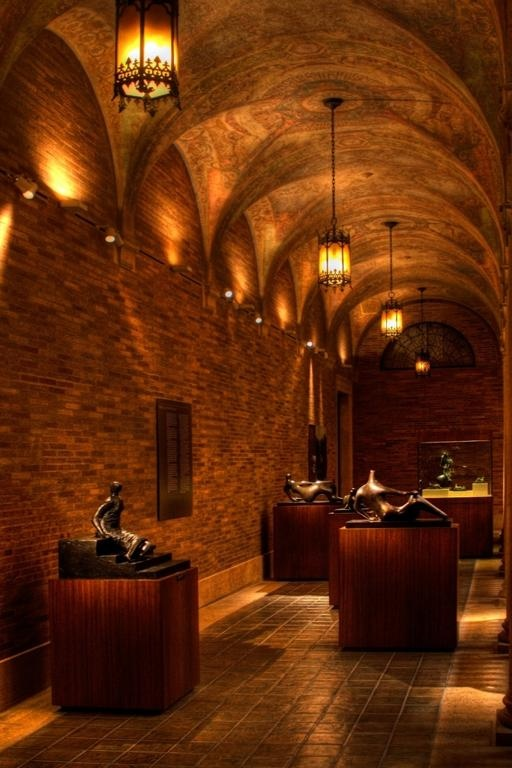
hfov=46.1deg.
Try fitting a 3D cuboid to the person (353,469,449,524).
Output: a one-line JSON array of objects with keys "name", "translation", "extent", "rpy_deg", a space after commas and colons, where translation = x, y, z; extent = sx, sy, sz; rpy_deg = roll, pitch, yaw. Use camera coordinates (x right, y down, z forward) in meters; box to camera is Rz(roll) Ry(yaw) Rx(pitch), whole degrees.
[{"name": "person", "translation": [1.330, 1.060, 5.745], "extent": [0.653, 0.455, 0.950], "rpy_deg": [0, -6, -6]}]
